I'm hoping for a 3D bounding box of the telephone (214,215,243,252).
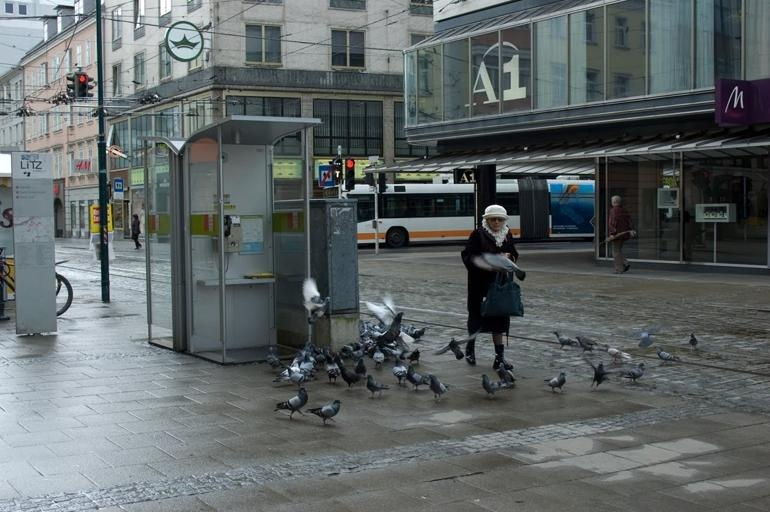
[{"bbox_3d":[-2.289,-0.336,11.266,0.263,0.573,0.135,-1,3,-12],"label":"telephone"}]

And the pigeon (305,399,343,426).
[{"bbox_3d":[-0.689,1.657,8.000,0.533,0.281,0.171,1,1,14],"label":"pigeon"}]

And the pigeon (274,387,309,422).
[{"bbox_3d":[-0.999,1.599,8.137,0.409,0.295,0.235,-14,-11,23],"label":"pigeon"}]

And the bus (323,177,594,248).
[{"bbox_3d":[4.208,-2.504,42.797,17.994,4.084,4.868,0,0,-11],"label":"bus"}]

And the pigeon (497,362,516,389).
[{"bbox_3d":[1.495,1.489,9.175,0.213,0.220,0.325,-21,-8,26],"label":"pigeon"}]

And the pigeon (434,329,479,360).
[{"bbox_3d":[1.078,1.330,11.092,0.512,0.199,0.207,-26,16,-3],"label":"pigeon"}]

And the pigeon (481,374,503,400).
[{"bbox_3d":[1.265,1.533,8.800,0.381,0.240,0.190,5,-8,-22],"label":"pigeon"}]
